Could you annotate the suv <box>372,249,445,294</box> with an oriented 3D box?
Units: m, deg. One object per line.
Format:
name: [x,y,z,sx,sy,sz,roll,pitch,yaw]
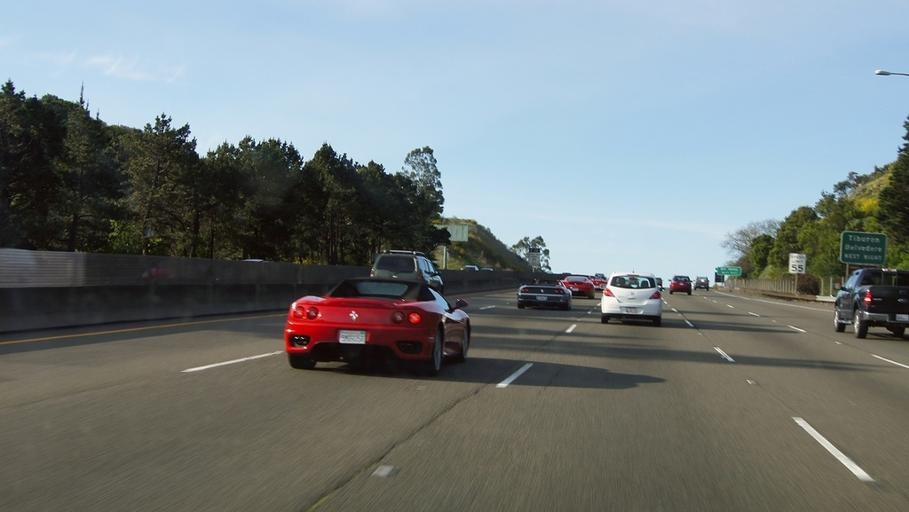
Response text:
suv: [-1.914,0.532,26.702,1.795,1.841,3.457,3,6,21]

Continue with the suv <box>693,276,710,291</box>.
suv: [43.434,4.742,111.309,1.726,1.808,4.327,4,5,29]

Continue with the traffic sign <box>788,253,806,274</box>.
traffic sign: [36.330,0.845,67.328,1.612,2.055,1.238,2,5,5]
